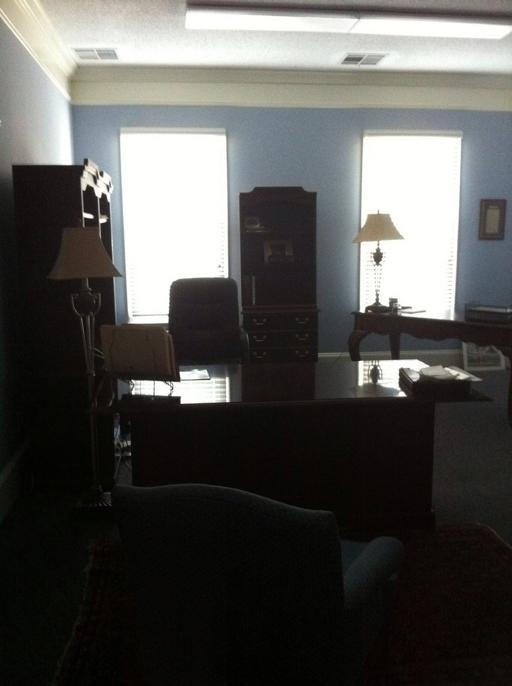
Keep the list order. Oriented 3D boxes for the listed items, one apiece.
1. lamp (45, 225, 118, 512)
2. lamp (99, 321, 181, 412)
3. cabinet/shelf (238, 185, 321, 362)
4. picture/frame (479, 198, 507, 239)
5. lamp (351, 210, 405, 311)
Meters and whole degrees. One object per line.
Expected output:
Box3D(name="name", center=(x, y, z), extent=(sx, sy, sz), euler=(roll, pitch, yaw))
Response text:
Box3D(name="lamp", center=(-0.757, 0.123, 2.553), extent=(0.292, 1.314, 0.806), euler=(-5, 8, -21))
Box3D(name="lamp", center=(-0.415, 0.038, 1.993), extent=(0.268, 0.225, 0.152), euler=(-1, 8, 15))
Box3D(name="cabinet/shelf", center=(0.198, -0.579, 4.806), extent=(0.680, 1.490, 0.378), euler=(-2, 7, 1))
Box3D(name="picture/frame", center=(2.270, -1.210, 5.379), extent=(0.258, 0.530, 0.032), euler=(-1, 7, -4))
Box3D(name="lamp", center=(1.048, -0.708, 4.778), extent=(0.375, 0.822, 0.971), euler=(-1, 9, 12))
